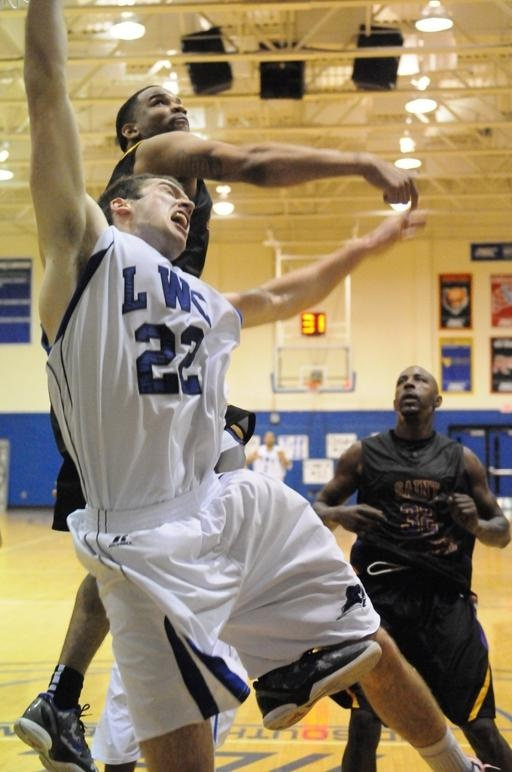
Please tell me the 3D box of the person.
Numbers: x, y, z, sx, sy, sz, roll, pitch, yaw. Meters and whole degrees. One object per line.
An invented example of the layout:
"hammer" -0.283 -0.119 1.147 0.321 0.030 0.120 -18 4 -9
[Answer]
"person" -0.067 0.057 2.193 0.944 1.721 0.559 -1 1 -36
